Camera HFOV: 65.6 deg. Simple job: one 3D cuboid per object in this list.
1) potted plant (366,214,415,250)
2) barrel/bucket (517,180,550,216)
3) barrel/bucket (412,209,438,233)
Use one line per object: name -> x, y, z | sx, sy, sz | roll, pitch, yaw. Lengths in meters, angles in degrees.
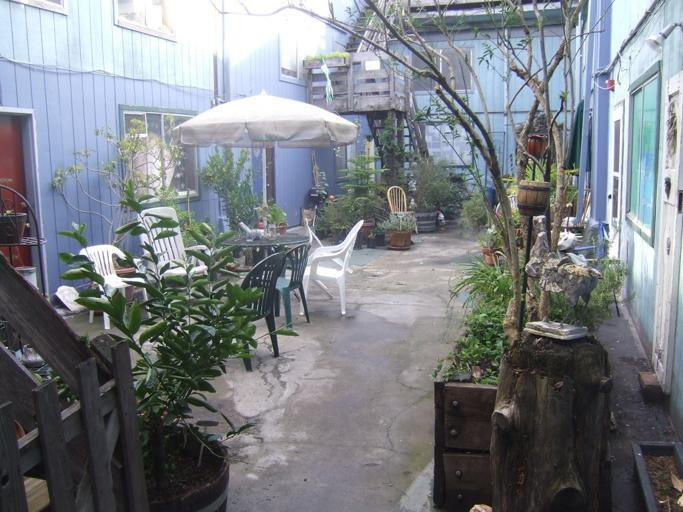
potted plant -> 1.081, -0.520, 11.824 | 0.939, 0.728, 0.782 | 1, 5, 43
barrel/bucket -> 0.950, -0.285, 2.650 | 0.155, 0.168, 0.166 | 0, 3, 0
barrel/bucket -> 2.197, -0.906, 13.969 | 0.586, 0.492, 0.588 | -3, 3, 0
